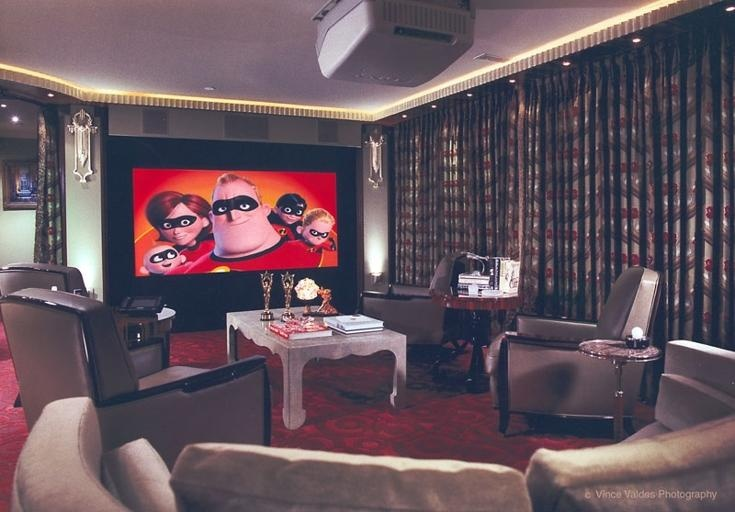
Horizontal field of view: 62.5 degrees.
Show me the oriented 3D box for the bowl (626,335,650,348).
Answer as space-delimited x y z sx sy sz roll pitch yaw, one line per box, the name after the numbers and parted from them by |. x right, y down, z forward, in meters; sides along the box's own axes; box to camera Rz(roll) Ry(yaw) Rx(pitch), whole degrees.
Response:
1.567 0.499 3.500 0.080 0.034 0.079 0 -2 0 | bowl

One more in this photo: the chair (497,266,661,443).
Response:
1.384 0.629 4.548 1.303 1.290 0.947 1 -1 11 | chair

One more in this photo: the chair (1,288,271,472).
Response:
-1.451 0.587 3.754 0.979 1.319 1.281 3 6 45 | chair

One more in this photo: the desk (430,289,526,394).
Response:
0.967 0.738 5.300 0.804 0.890 0.827 0 2 -22 | desk

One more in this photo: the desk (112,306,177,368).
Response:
-1.601 0.575 4.749 0.534 0.379 0.519 2 1 30 | desk

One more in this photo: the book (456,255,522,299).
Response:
1.041 0.205 5.176 0.470 0.290 0.466 -1 2 -26 | book

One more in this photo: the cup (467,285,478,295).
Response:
0.897 0.283 5.086 0.074 0.073 0.138 2 6 8 | cup
